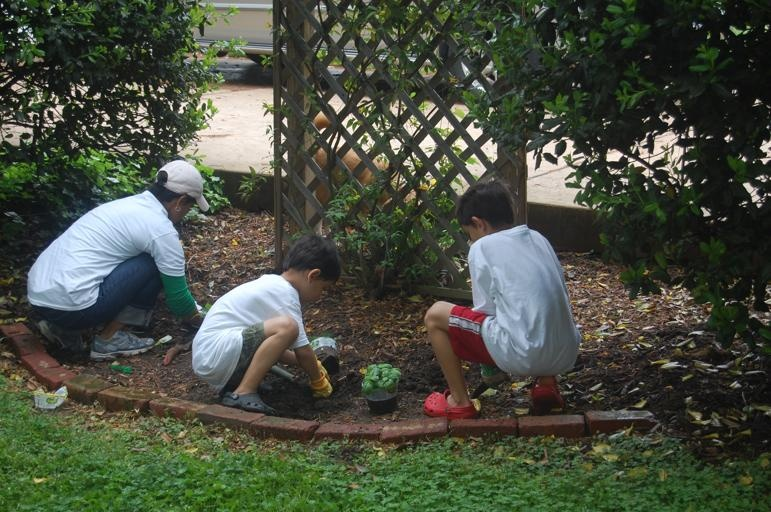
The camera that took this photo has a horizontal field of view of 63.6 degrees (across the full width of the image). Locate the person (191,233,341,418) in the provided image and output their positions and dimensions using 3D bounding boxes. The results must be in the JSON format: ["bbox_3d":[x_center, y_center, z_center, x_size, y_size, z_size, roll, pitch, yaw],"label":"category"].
[{"bbox_3d":[-0.743,0.390,3.978,0.956,1.082,1.017,5,1,-27],"label":"person"}]

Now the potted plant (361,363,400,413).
[{"bbox_3d":[-0.045,0.719,3.594,0.246,0.273,0.249,-7,19,-8],"label":"potted plant"}]

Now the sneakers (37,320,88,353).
[{"bbox_3d":[-2.128,0.524,4.080,0.073,0.213,0.091,-31,10,27],"label":"sneakers"}]

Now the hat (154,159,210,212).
[{"bbox_3d":[-1.330,-0.499,4.206,0.369,0.217,0.258,31,5,-28],"label":"hat"}]

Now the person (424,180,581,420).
[{"bbox_3d":[0.636,0.266,3.292,0.805,1.299,0.405,8,10,16],"label":"person"}]

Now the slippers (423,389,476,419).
[{"bbox_3d":[0.347,0.797,3.371,0.241,0.092,0.125,6,13,22],"label":"slippers"}]

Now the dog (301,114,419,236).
[{"bbox_3d":[-0.223,-0.724,4.955,0.726,0.751,1.223,3,10,-11],"label":"dog"}]

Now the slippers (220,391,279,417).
[{"bbox_3d":[-0.762,0.811,3.440,0.236,0.081,0.129,7,-4,8],"label":"slippers"}]

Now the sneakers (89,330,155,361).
[{"bbox_3d":[-1.762,0.589,4.195,0.404,0.190,0.152,-4,10,-26],"label":"sneakers"}]
